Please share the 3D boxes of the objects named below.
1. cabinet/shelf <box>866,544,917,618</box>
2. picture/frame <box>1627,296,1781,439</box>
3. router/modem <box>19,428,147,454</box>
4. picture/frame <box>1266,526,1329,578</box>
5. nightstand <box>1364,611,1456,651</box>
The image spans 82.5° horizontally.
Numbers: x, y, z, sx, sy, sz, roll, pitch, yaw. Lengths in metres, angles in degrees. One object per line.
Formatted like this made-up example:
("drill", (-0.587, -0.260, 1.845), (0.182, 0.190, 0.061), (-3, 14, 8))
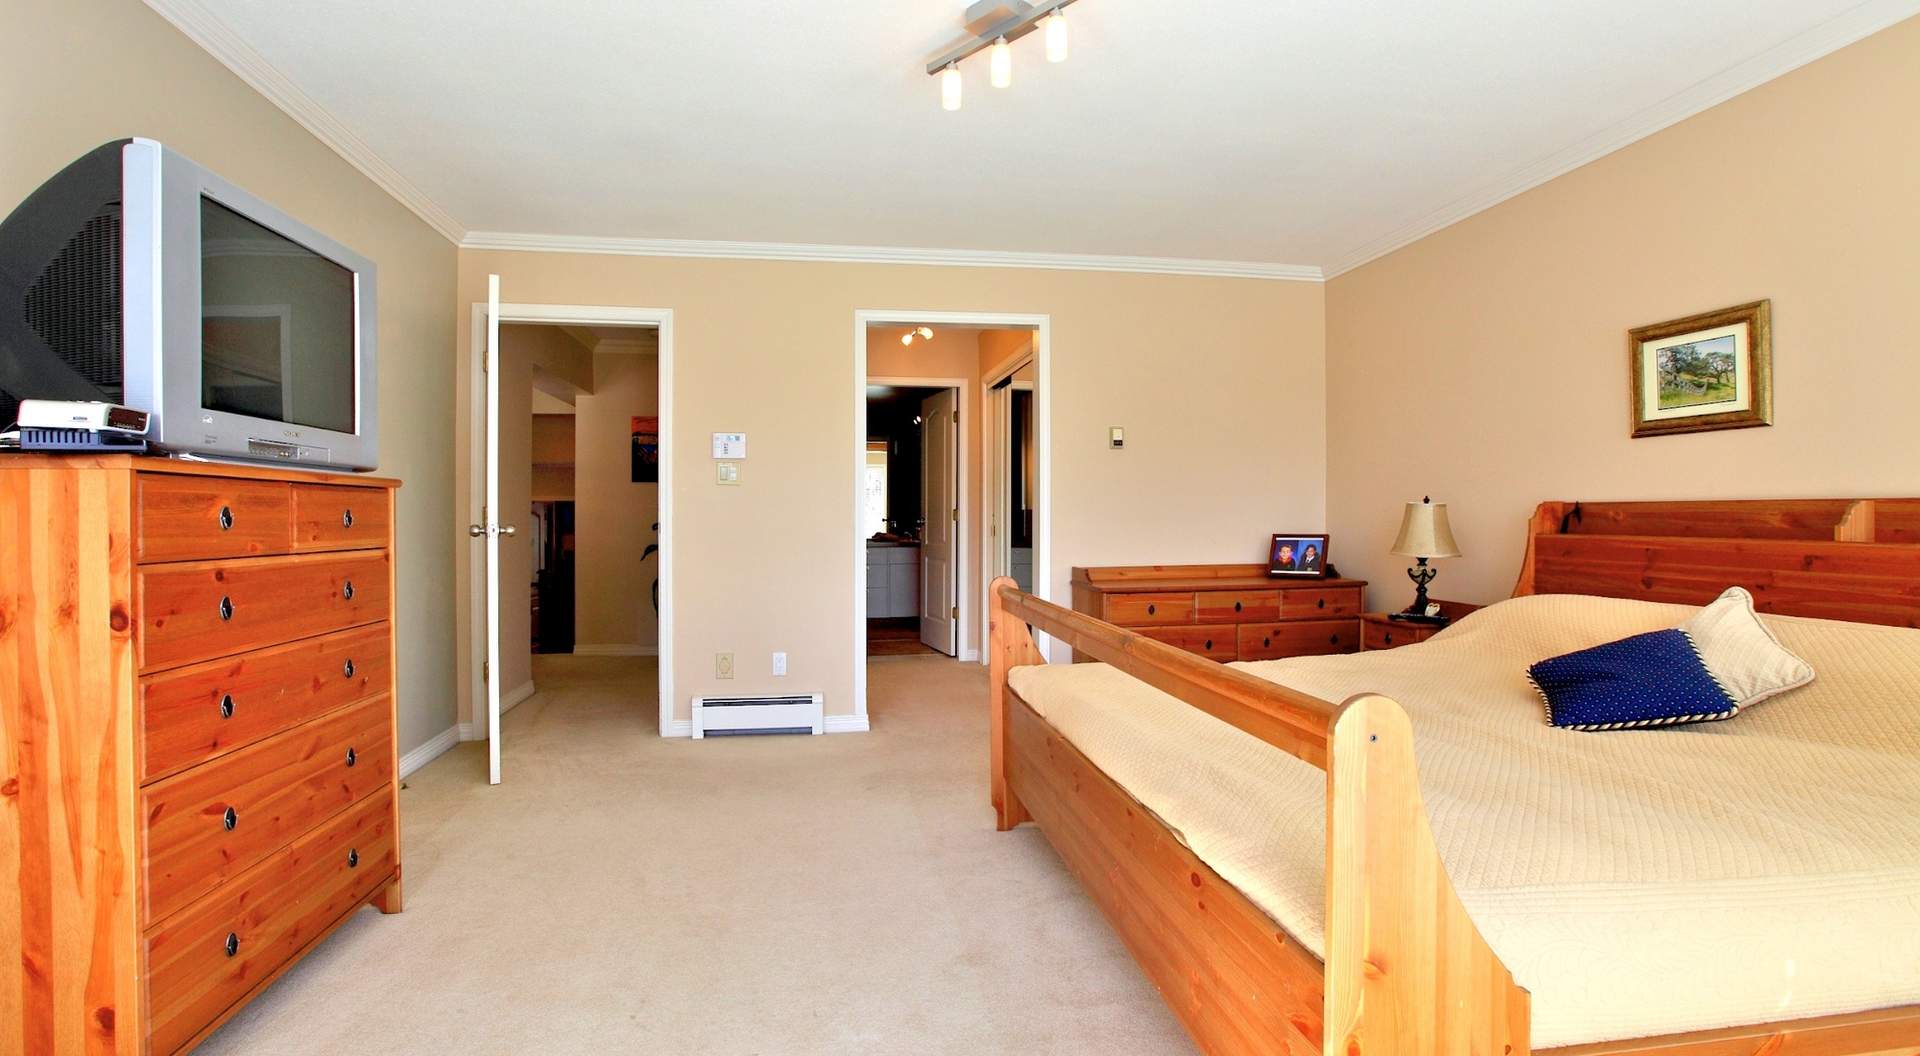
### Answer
("cabinet/shelf", (-0.627, 0.486, 10.137), (0.450, 0.652, 0.162), (-1, 5, -21))
("picture/frame", (3.323, -0.709, 4.822), (0.053, 0.674, 0.733), (1, 0, -35))
("router/modem", (-2.948, -0.291, 3.645), (0.381, 0.075, 0.079), (0, 5, -8))
("picture/frame", (2.028, 0.151, 6.685), (0.489, 0.361, 0.245), (2, -9, 28))
("nightstand", (2.345, 0.468, 5.723), (0.232, 0.277, 0.323), (1, 2, -7))
